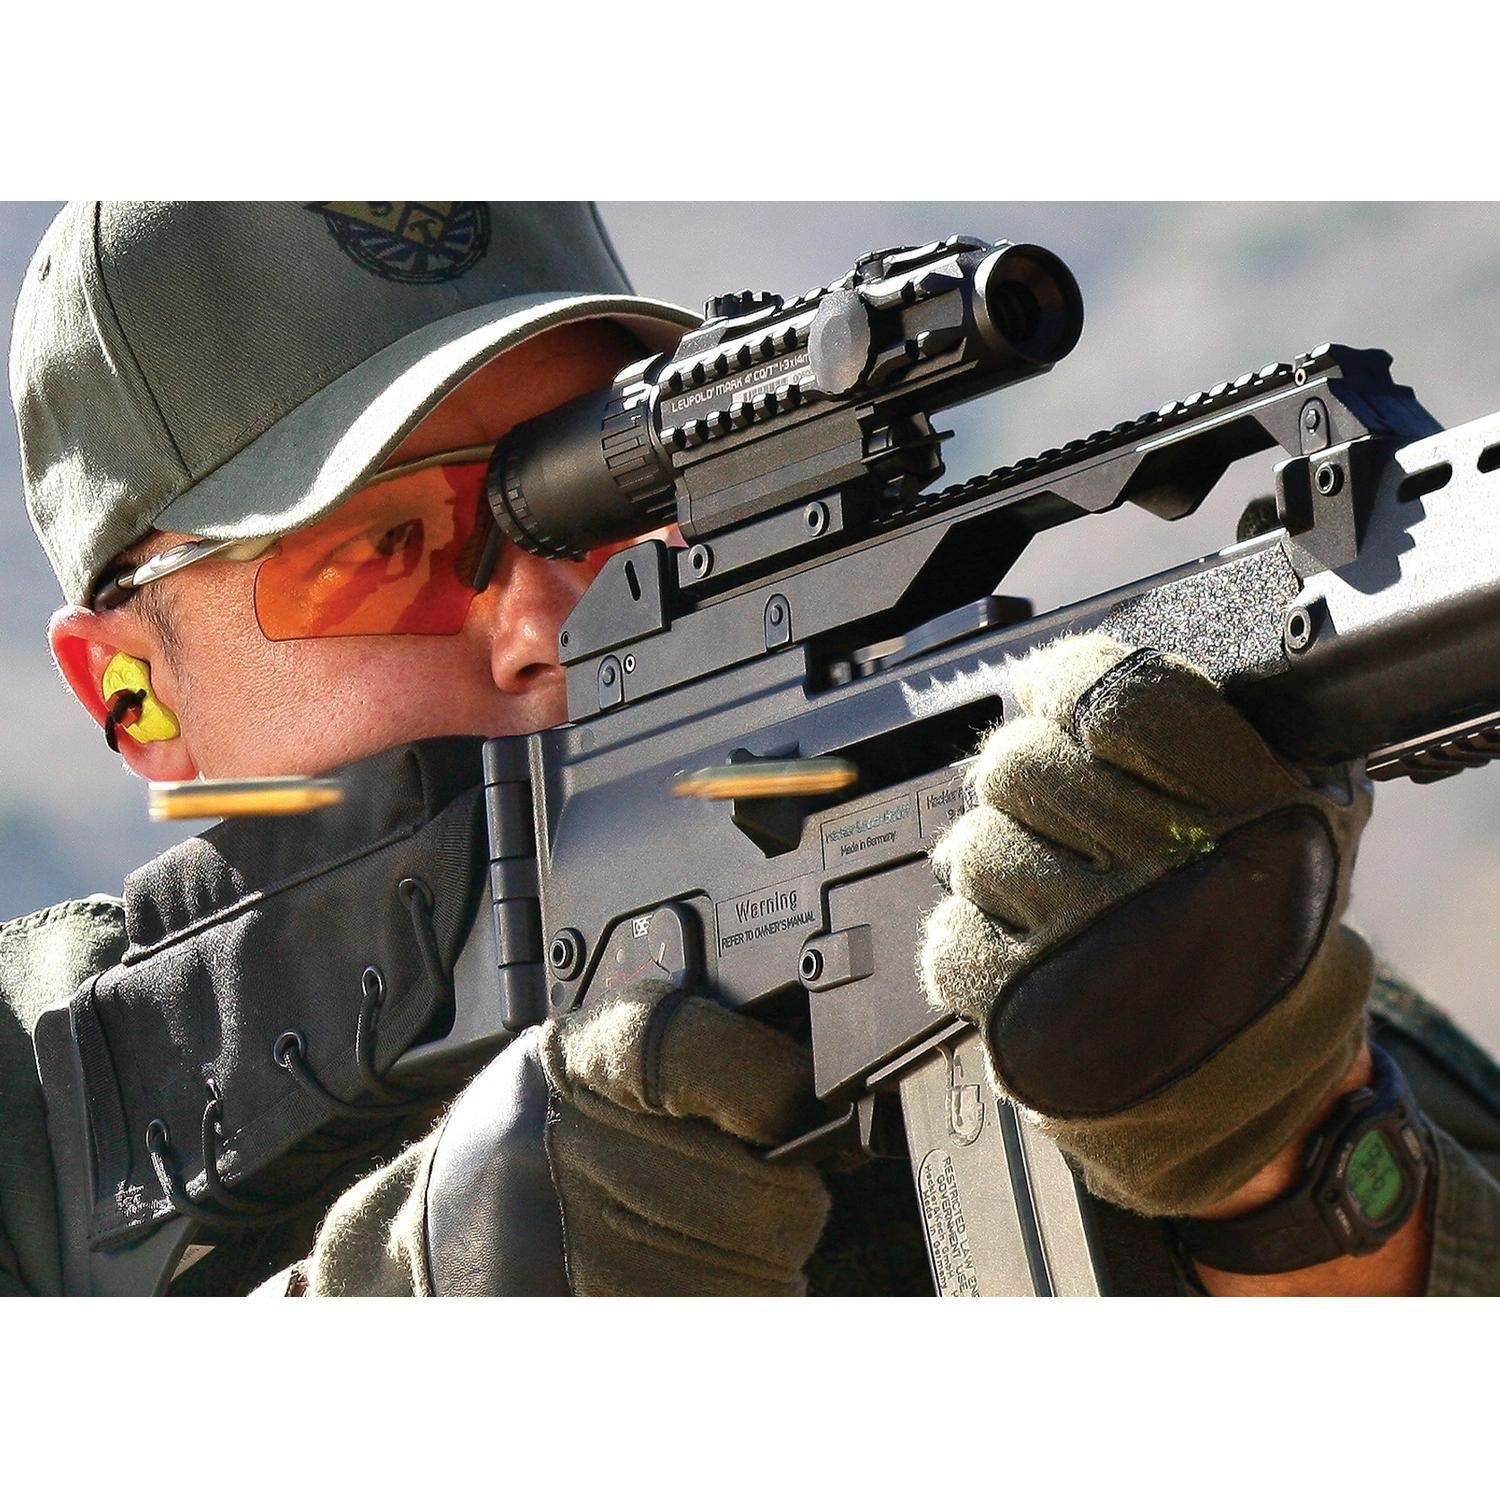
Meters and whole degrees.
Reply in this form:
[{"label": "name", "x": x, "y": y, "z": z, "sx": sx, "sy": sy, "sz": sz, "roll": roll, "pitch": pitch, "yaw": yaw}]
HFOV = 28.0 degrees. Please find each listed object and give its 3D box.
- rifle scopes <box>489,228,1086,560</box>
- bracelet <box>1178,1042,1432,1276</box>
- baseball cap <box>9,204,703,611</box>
[{"label": "rifle scopes", "x": 0.030, "y": -0.304, "z": 2.908, "sx": 0.717, "sy": 0.294, "sz": 0.193, "roll": -18, "pitch": -4, "yaw": 42}, {"label": "bracelet", "x": 0.483, "y": 0.380, "z": 2.693, "sx": 0.197, "sy": 0.087, "sz": 0.193, "roll": -27, "pitch": 46, "yaw": 12}, {"label": "baseball cap", "x": -0.500, "y": -0.315, "z": 3.465, "sx": 0.602, "sy": 0.205, "sz": 0.620, "roll": 13, "pitch": 27, "yaw": 32}]
